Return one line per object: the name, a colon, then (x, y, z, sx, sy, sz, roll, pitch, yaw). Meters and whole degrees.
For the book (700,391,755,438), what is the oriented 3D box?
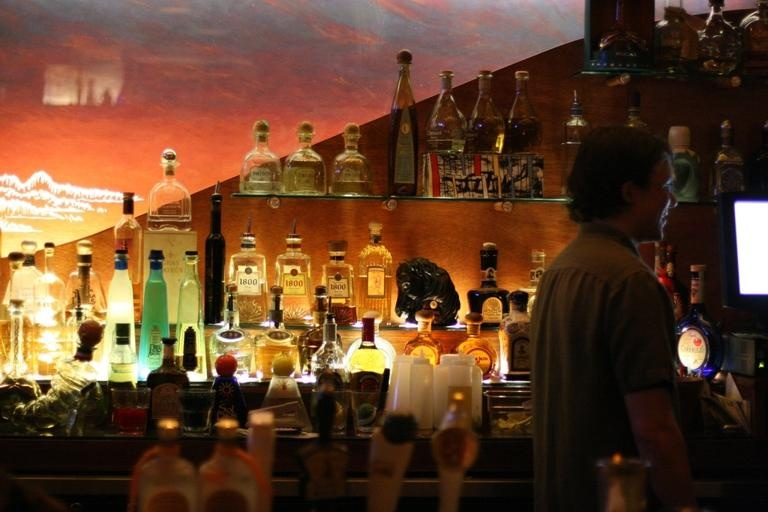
book: (1.334, 0.620, 3.438, 0.211, 0.131, 0.072, 6, -24, -22)
